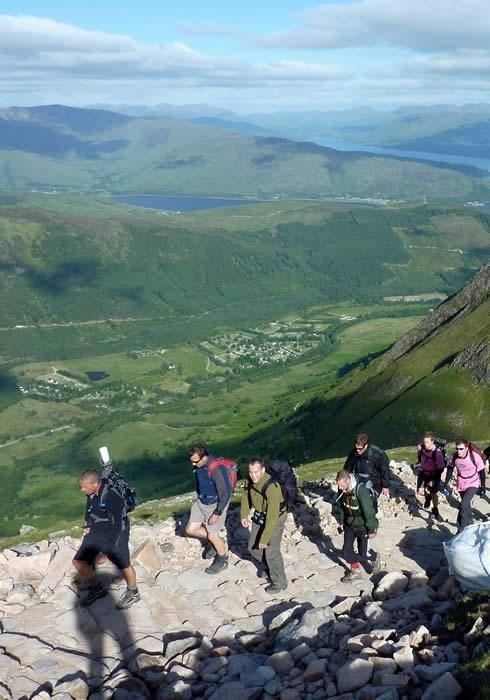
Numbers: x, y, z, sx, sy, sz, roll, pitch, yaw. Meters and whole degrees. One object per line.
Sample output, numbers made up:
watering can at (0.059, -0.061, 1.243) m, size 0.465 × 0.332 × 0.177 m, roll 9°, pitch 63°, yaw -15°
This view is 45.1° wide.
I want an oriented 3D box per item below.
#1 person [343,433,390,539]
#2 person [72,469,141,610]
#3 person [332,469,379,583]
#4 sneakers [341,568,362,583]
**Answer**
person at (3.606, 3.767, 17.454) m, size 1.397 × 2.680 × 0.977 m, roll 1°, pitch 15°, yaw 23°
person at (-3.518, 4.584, 14.531) m, size 1.447 × 3.585 × 1.059 m, roll -4°, pitch 14°, yaw 6°
person at (3.051, 4.716, 16.161) m, size 1.024 × 3.386 × 1.086 m, roll -4°, pitch 14°, yaw 7°
sneakers at (2.936, 6.192, 16.314) m, size 0.584 × 0.216 × 0.244 m, roll -1°, pitch 0°, yaw -18°
